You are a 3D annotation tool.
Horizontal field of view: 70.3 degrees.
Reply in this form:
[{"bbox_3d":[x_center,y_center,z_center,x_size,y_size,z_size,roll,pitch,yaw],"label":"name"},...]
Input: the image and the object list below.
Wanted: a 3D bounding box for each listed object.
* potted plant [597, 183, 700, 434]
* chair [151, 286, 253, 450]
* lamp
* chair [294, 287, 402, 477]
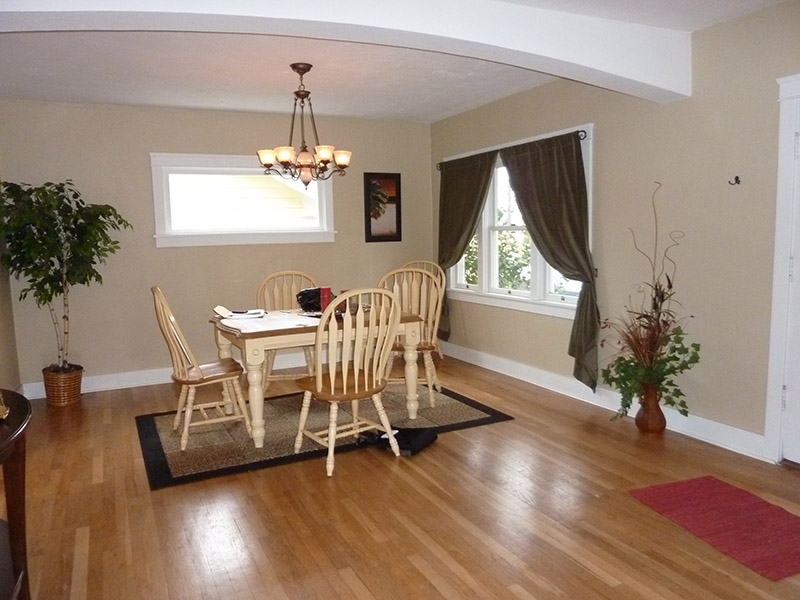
[{"bbox_3d":[1.887,0.056,4.242,0.696,1.825,0.728,3,13,20],"label":"potted plant"},{"bbox_3d":[-1.548,0.429,4.479,0.603,1.257,1.299,-5,12,-17],"label":"chair"},{"bbox_3d":[-0.756,-1.403,4.507,0.715,0.934,0.680,-4,10,-16],"label":"lamp"},{"bbox_3d":[-0.372,0.507,3.951,0.631,1.249,0.583,-6,14,-33],"label":"chair"}]
